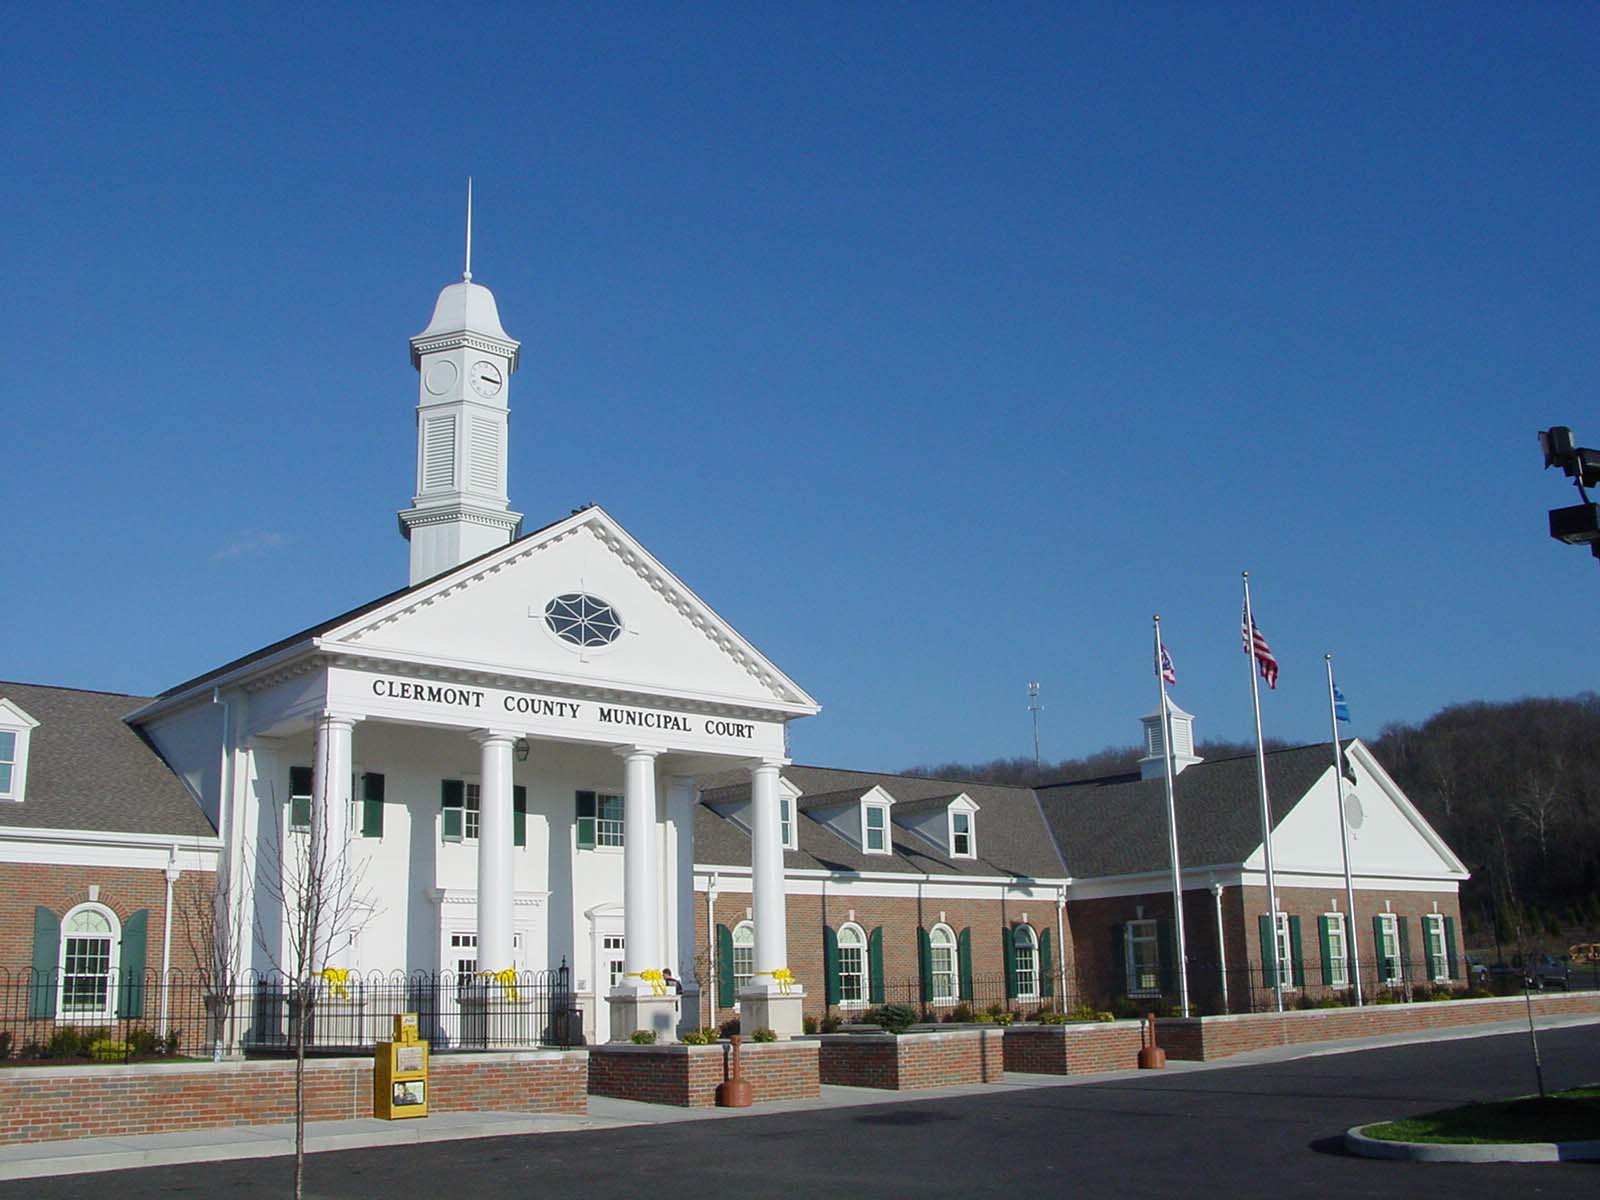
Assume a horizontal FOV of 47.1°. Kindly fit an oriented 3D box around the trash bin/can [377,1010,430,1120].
[{"bbox_3d":[-7.594,8.843,34.901,0.988,1.968,0.821,1,-16,-15],"label":"trash bin/can"}]

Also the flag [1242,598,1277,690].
[{"bbox_3d":[13.015,1.367,51.643,0.697,2.544,2.790,-6,-16,13],"label":"flag"}]
